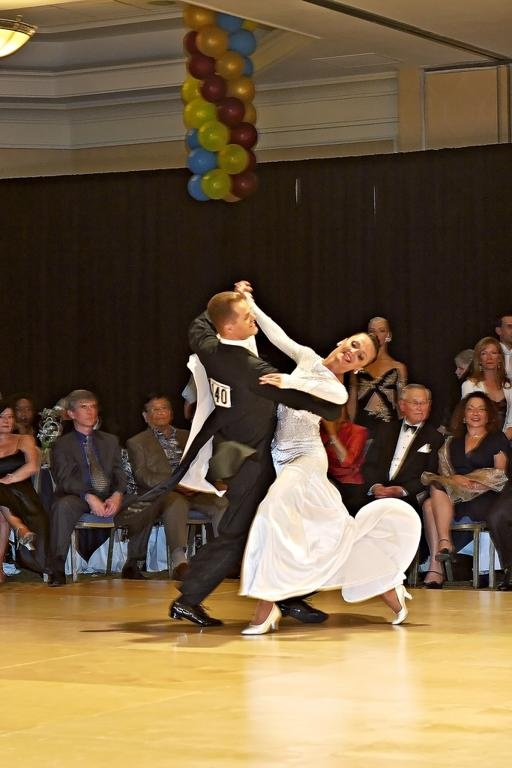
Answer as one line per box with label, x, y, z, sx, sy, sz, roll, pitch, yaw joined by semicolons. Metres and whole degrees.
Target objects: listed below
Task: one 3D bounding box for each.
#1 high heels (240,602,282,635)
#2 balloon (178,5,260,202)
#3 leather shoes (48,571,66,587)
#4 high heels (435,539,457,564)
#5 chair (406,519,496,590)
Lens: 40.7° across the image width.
high heels;0.042;1.136;3.334;0.096;0.127;0.283;-4;-10;37
balloon;-0.297;-2.356;5.793;0.632;1.569;0.562;0;-7;-7
leather shoes;-1.477;1.445;5.105;0.085;0.106;0.113;2;-16;-9
high heels;1.318;1.169;4.825;0.119;0.125;0.343;-3;-18;7
chair;1.544;1.210;4.954;0.584;0.381;0.514;3;-17;-9
